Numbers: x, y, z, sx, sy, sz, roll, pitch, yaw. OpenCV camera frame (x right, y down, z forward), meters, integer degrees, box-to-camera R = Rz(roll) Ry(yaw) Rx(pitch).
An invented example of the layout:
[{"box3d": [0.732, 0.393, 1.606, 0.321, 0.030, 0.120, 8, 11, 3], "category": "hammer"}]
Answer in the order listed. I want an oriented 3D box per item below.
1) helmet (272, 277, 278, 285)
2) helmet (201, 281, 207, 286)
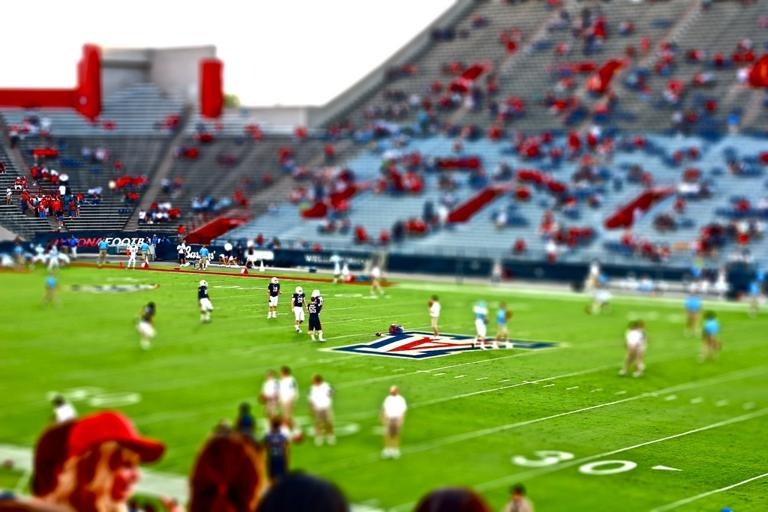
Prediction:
[{"box3d": [-4.121, 0.959, 40.415, 0.292, 0.288, 0.387, -3, 3, -17], "category": "helmet"}, {"box3d": [-6.836, 1.045, 40.142, 0.279, 0.216, 0.260, 1, 2, 13], "category": "helmet"}]
